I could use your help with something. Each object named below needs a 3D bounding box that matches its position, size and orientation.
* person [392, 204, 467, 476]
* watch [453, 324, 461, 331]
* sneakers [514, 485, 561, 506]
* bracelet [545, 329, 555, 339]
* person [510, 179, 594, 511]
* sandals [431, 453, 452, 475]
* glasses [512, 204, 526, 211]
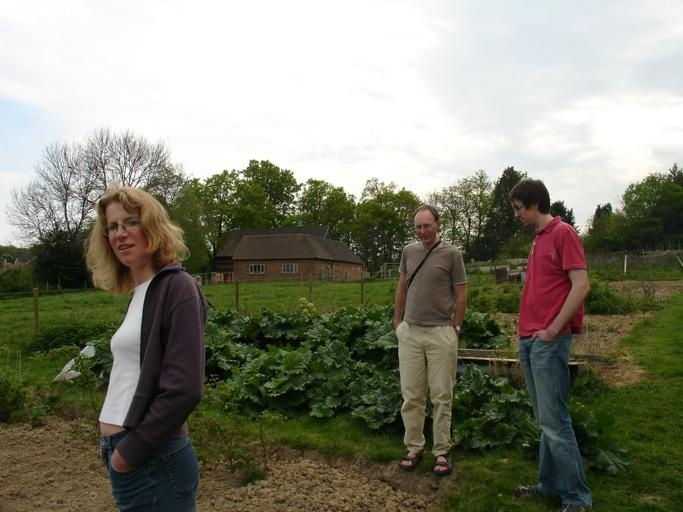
[{"bbox_3d":[1.031,0.941,5.581,0.863,3.080,0.581,-1,-1,14],"label":"person"},{"bbox_3d":[1.374,0.860,5.595,0.057,0.090,0.044,-4,-9,1],"label":"watch"},{"bbox_3d":[1.999,2.431,4.830,0.390,0.188,0.151,-13,-10,36],"label":"sneakers"},{"bbox_3d":[1.970,0.752,4.489,0.072,0.076,0.080,38,-18,33],"label":"bracelet"},{"bbox_3d":[2.062,0.818,4.650,0.652,2.310,0.467,-1,-1,22],"label":"person"},{"bbox_3d":[1.144,2.370,5.352,0.201,0.207,0.217,-1,-1,10],"label":"sandals"},{"bbox_3d":[1.840,-0.502,4.906,0.080,0.071,0.076,0,2,-16],"label":"glasses"}]
